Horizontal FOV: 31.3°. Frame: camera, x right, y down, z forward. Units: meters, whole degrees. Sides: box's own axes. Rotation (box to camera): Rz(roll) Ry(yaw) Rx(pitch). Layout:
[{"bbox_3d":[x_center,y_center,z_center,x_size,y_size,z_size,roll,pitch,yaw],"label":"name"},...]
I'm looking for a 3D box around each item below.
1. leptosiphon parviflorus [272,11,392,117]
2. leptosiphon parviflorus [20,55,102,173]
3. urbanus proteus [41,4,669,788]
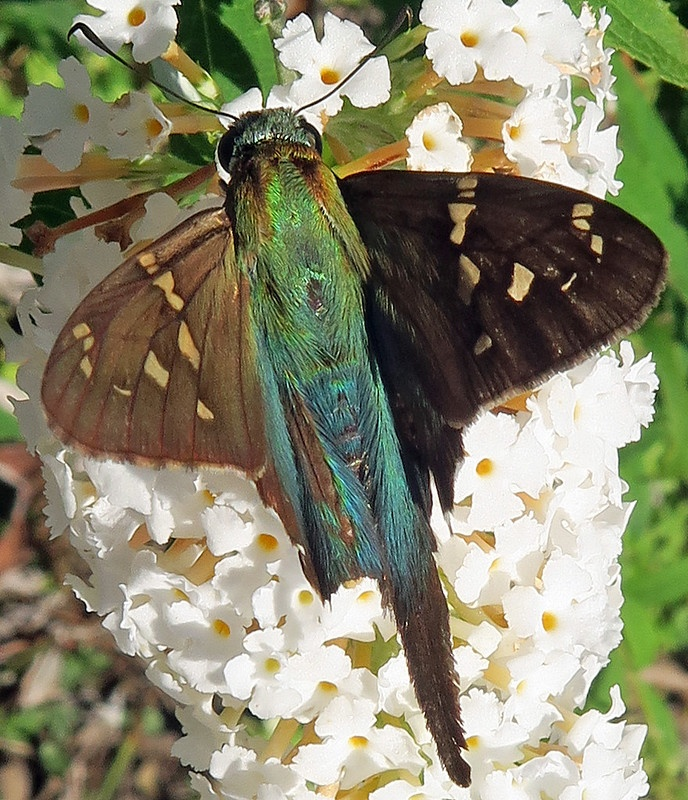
[{"bbox_3d":[-0.020,-0.470,1.726,0.173,0.147,0.127,-5,24,-12],"label":"leptosiphon parviflorus"},{"bbox_3d":[-0.411,-0.403,1.748,0.158,0.145,0.039,2,4,3],"label":"leptosiphon parviflorus"},{"bbox_3d":[-0.022,0.055,1.732,0.524,1.062,0.626,-20,34,-29],"label":"urbanus proteus"}]
